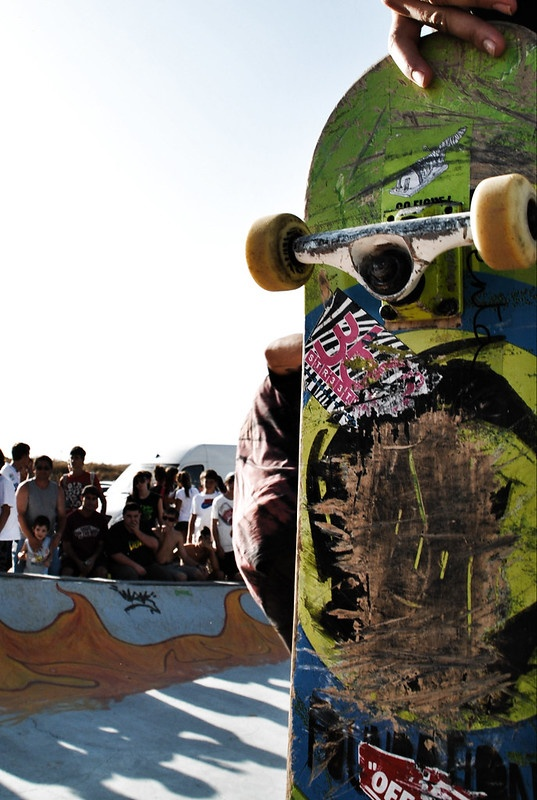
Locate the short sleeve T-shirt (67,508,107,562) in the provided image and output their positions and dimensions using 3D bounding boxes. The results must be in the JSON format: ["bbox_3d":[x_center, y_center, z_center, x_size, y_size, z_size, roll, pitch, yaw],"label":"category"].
[{"bbox_3d":[-1.599,1.185,7.059,0.429,0.343,0.124,-8,-17,35],"label":"short sleeve T-shirt"}]

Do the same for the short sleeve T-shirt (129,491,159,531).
[{"bbox_3d":[-1.162,1.039,7.144,0.314,0.370,0.200,2,-31,-16],"label":"short sleeve T-shirt"}]

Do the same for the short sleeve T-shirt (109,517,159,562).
[{"bbox_3d":[-1.234,1.321,7.030,0.477,0.362,0.139,16,-19,-35],"label":"short sleeve T-shirt"}]

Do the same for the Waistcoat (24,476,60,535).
[{"bbox_3d":[-2.073,0.982,6.934,0.336,0.505,0.320,1,-4,-2],"label":"Waistcoat"}]

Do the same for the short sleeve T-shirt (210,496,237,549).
[{"bbox_3d":[-0.467,1.225,7.658,0.227,0.544,0.258,5,-16,1],"label":"short sleeve T-shirt"}]

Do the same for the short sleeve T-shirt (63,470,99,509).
[{"bbox_3d":[-1.892,0.894,7.621,0.354,0.456,0.362,9,-16,-13],"label":"short sleeve T-shirt"}]
